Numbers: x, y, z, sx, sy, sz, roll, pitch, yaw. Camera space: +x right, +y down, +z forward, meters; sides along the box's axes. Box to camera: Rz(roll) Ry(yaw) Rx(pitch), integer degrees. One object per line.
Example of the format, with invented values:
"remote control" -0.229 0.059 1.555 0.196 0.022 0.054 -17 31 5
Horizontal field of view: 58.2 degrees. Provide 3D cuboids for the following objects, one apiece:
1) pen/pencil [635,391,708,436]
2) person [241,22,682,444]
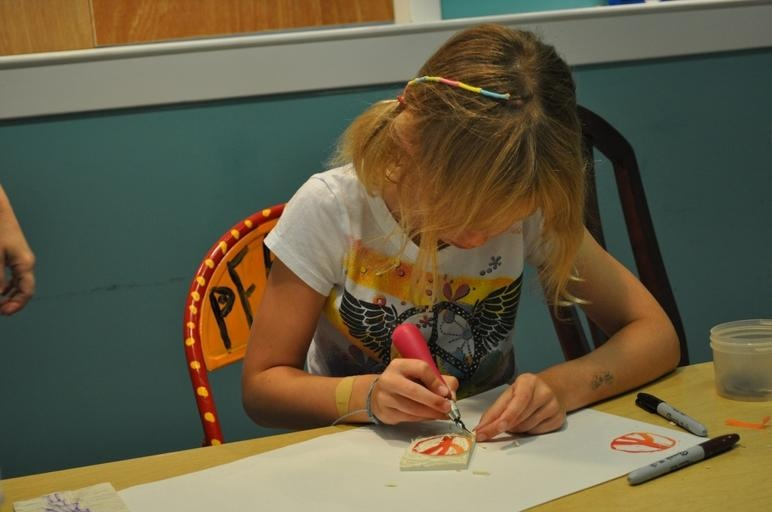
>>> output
"pen/pencil" 0.597 0.332 1.451 0.024 0.019 0.103 -18 30 -25
"person" 0.133 -0.072 1.737 0.663 0.634 1.209 -23 -35 -26
